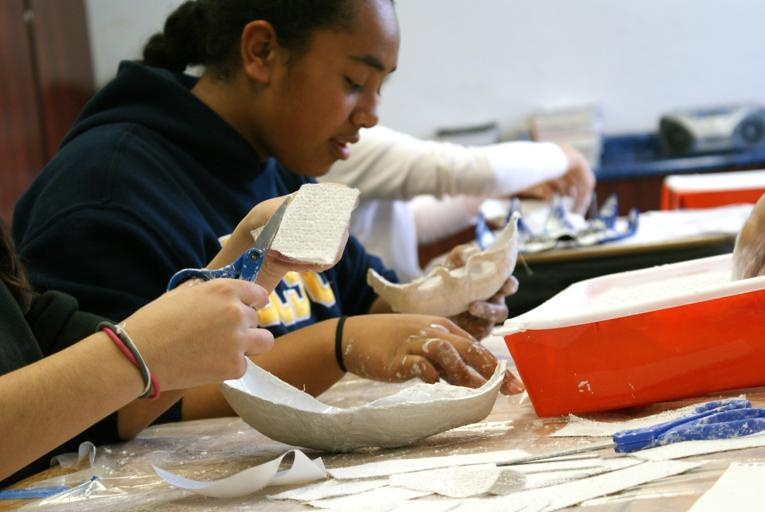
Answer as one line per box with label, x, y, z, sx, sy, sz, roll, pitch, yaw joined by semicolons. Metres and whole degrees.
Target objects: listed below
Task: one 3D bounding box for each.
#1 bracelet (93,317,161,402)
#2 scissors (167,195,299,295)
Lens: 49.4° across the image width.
bracelet;-0.400;0.163;1.314;0.093;0.123;0.034;6;16;32
scissors;-0.237;0.000;1.343;0.120;0.229;0.038;28;17;-32
